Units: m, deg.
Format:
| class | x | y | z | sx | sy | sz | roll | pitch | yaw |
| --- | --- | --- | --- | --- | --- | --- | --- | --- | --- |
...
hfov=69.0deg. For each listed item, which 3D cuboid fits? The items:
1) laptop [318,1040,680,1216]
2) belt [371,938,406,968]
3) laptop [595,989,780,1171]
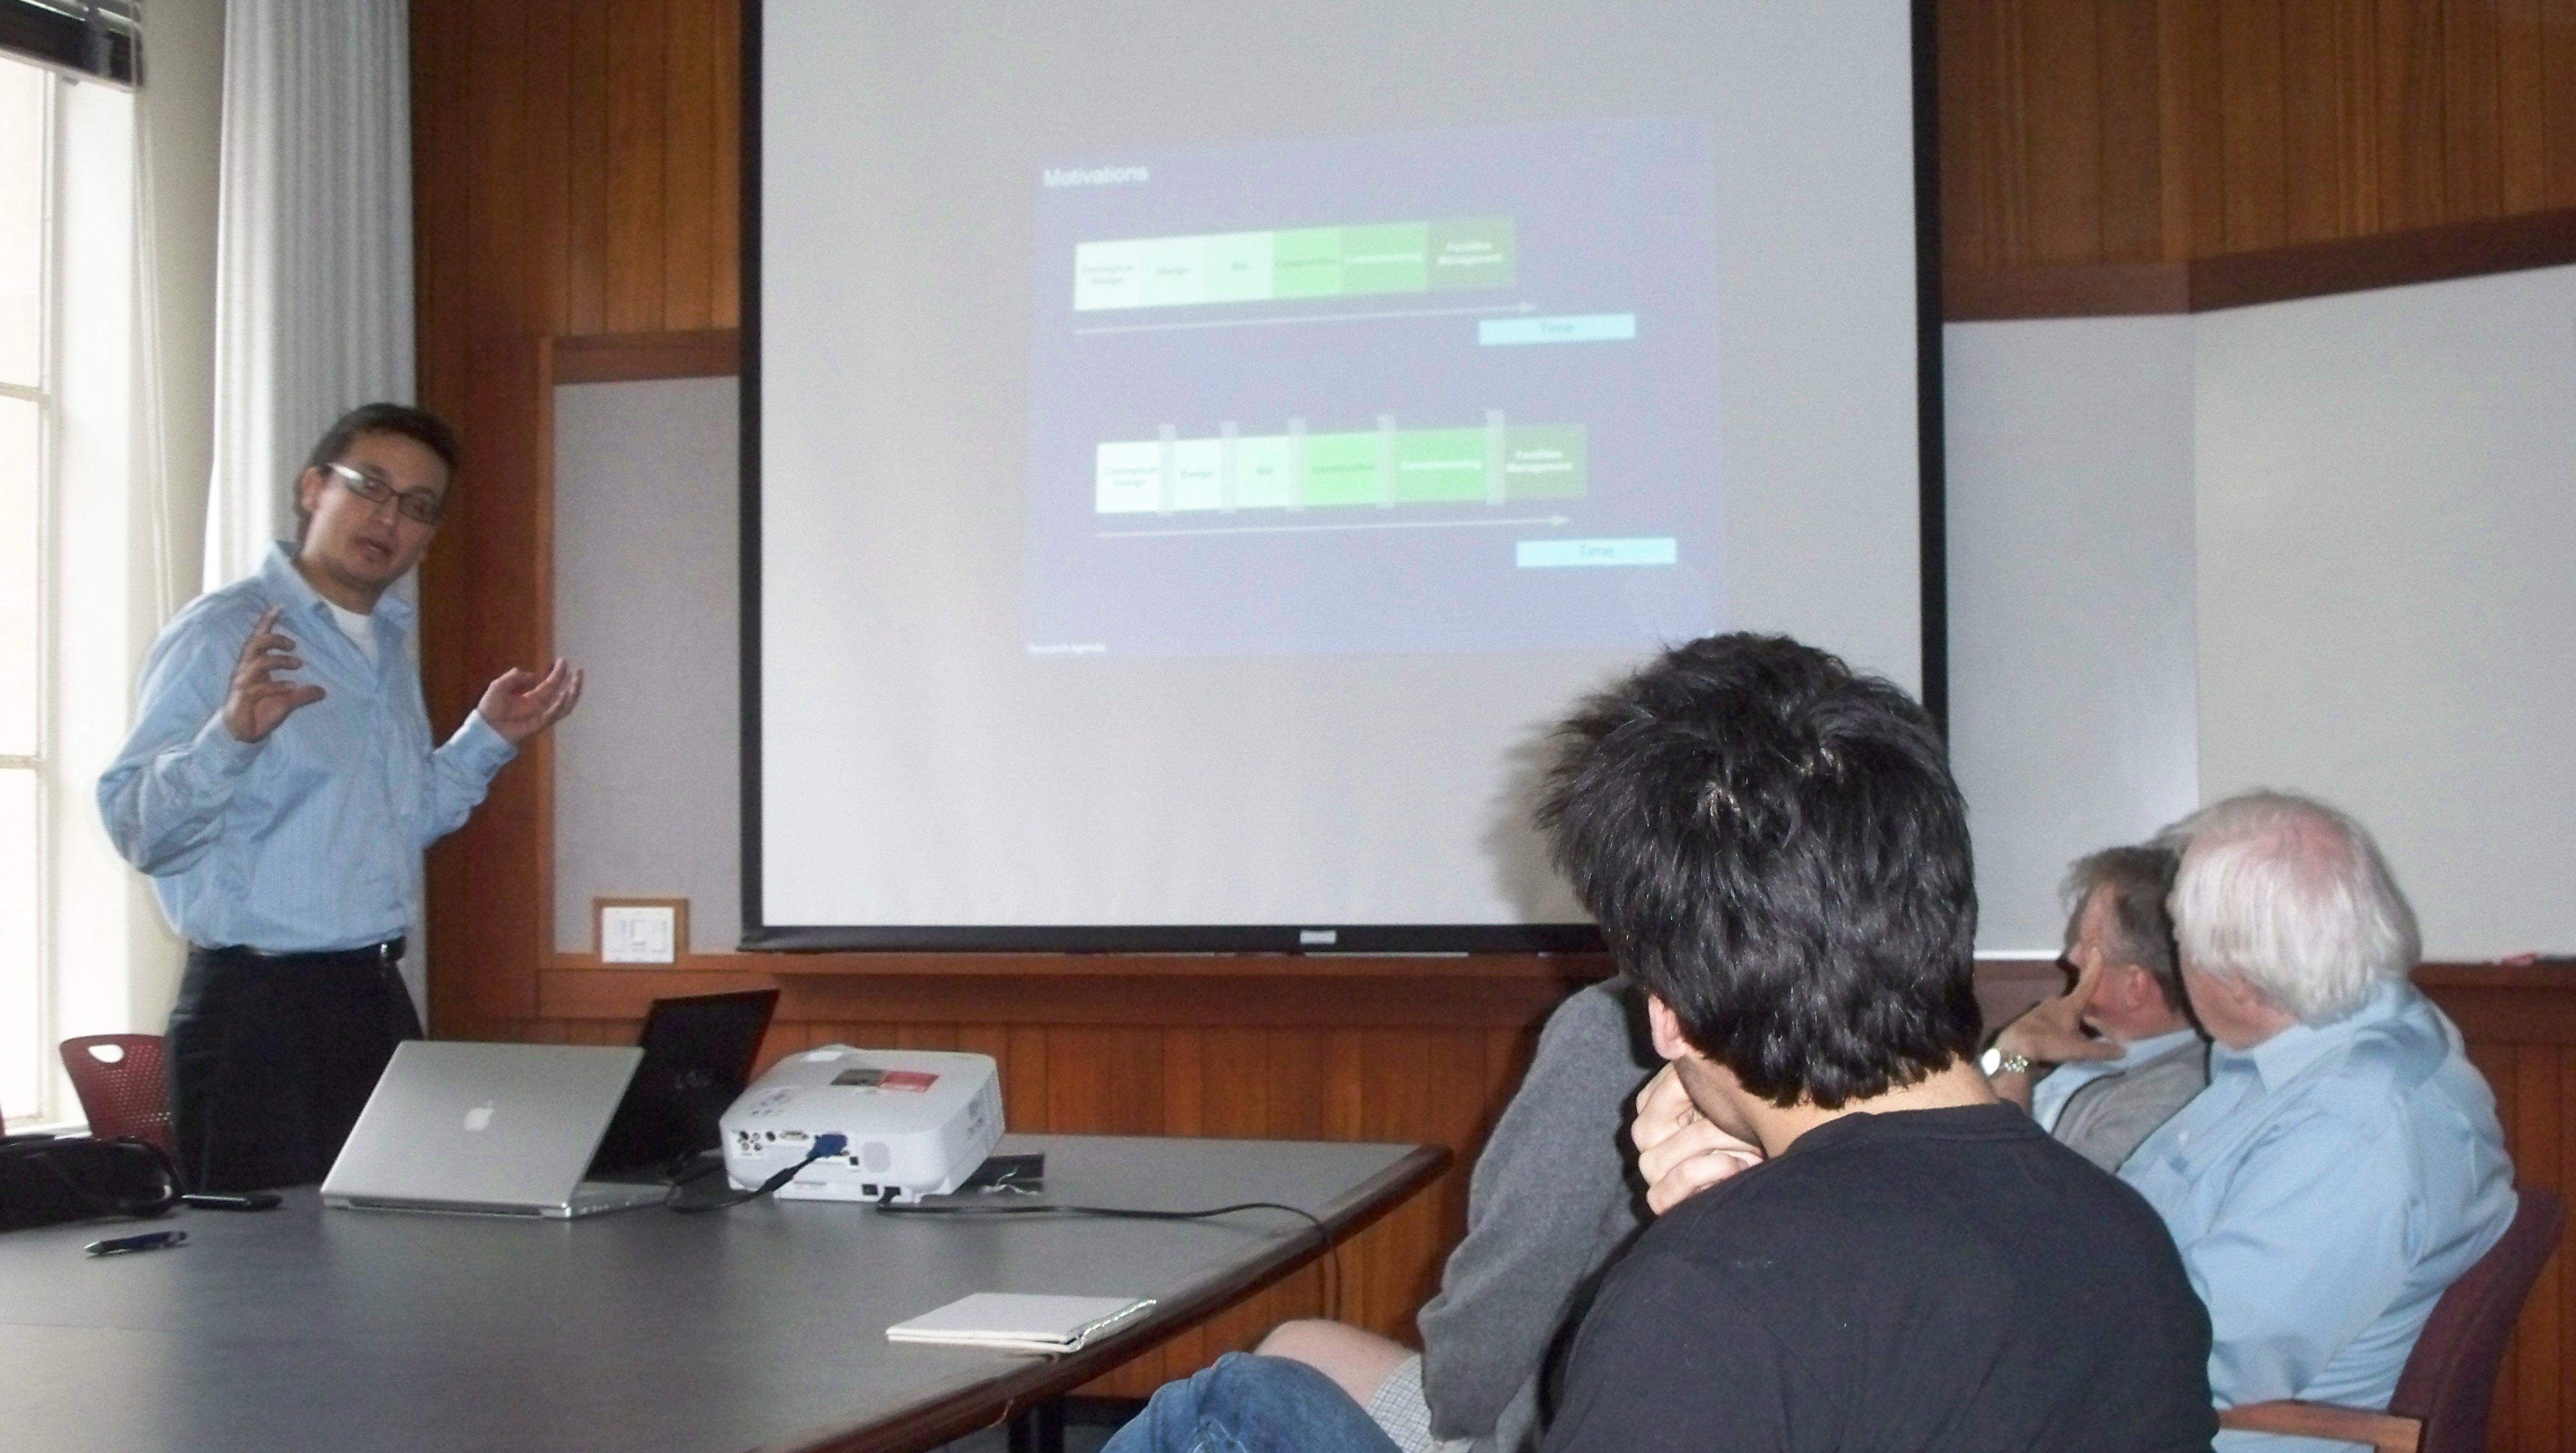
| class | x | y | z | sx | sy | sz | roll | pitch | yaw |
| --- | --- | --- | --- | --- | --- | --- | --- | --- | --- |
| laptop | -1.639 | 0.827 | 3.837 | 0.544 | 0.329 | 0.384 | -1 | -4 | 13 |
| belt | -2.192 | 0.543 | 4.547 | 0.082 | 0.078 | 0.078 | -2 | -14 | -10 |
| laptop | -1.288 | 0.765 | 4.001 | 0.349 | 0.264 | 0.423 | 1 | -2 | 23 |
